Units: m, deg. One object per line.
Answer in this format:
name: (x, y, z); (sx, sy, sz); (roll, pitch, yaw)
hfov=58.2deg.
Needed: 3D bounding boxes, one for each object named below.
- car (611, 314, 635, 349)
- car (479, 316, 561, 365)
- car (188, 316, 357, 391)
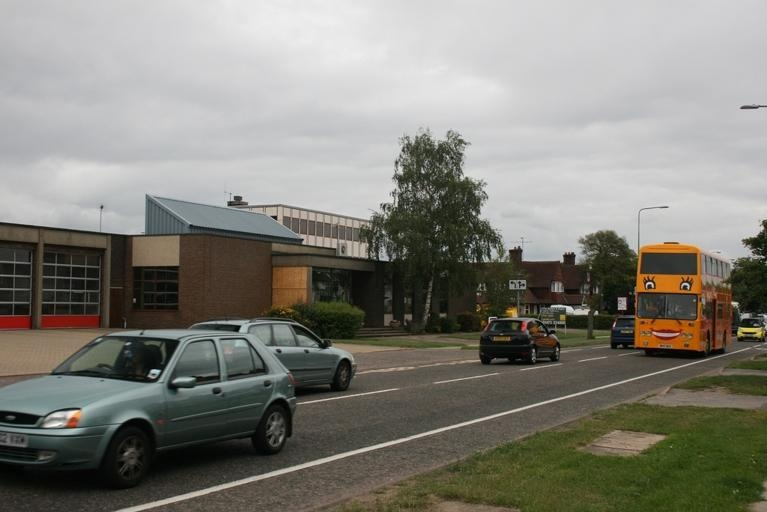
car: (13.558, 4.275, 39.203); (1.159, 1.869, 1.335); (1, -1, 21)
car: (5.648, 3.360, 27.705); (1.644, 1.141, 2.811); (-4, -3, 32)
car: (-2.604, 2.483, 17.309); (1.794, 1.487, 4.044); (-2, -6, 39)
